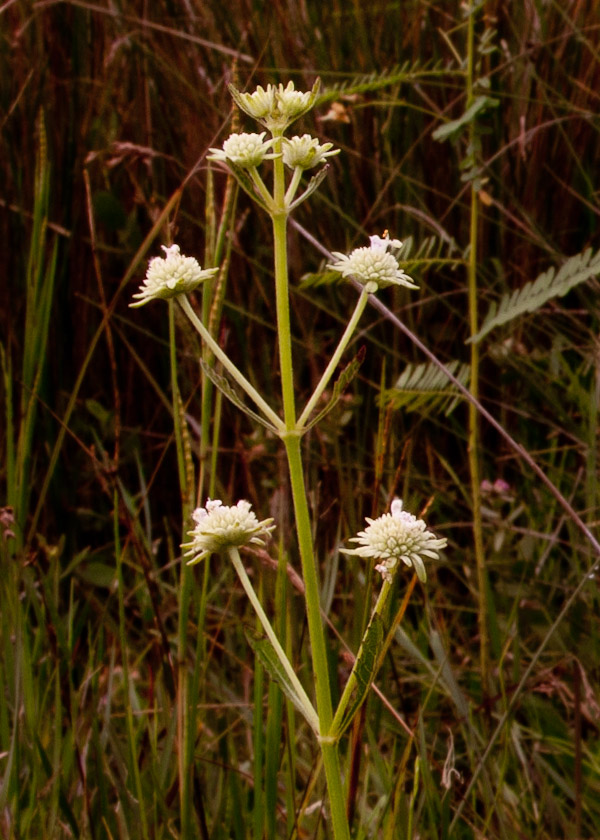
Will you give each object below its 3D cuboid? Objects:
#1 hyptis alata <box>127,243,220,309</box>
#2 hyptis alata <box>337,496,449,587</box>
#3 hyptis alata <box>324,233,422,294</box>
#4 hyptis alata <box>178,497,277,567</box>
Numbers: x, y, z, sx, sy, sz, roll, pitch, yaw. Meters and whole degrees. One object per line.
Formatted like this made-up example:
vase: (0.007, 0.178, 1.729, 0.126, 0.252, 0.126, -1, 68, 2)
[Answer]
hyptis alata: (-0.141, -0.165, 1.126, 0.097, 0.067, 0.104, -14, -2, 7)
hyptis alata: (0.110, 0.130, 1.089, 0.071, 0.063, 0.088, -5, 2, 8)
hyptis alata: (0.085, -0.181, 1.139, 0.086, 0.044, 0.110, 11, 40, 11)
hyptis alata: (-0.078, 0.112, 1.089, 0.090, 0.062, 0.090, -9, -8, 27)
